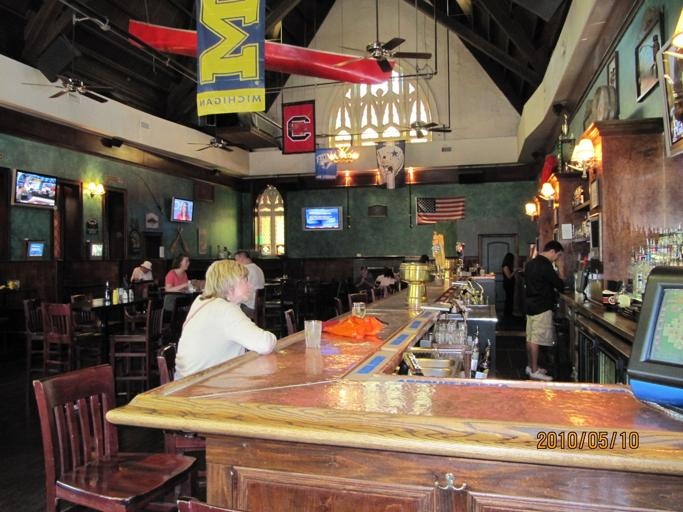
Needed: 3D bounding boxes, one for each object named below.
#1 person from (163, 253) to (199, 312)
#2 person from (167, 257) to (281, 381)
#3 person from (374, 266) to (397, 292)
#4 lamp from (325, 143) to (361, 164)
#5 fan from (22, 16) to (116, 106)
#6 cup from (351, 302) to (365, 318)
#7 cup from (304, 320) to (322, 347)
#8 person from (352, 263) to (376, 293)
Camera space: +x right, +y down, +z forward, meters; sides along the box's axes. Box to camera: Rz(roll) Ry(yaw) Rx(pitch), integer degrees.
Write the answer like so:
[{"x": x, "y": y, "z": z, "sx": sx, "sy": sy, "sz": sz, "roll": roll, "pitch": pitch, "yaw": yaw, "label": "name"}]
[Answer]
[{"x": -2.413, "y": 0.436, "z": 8.000, "sx": 0.466, "sy": 0.857, "sz": 0.465, "roll": 2, "pitch": -3, "yaw": 25, "label": "person"}, {"x": -0.722, "y": 0.580, "z": 3.306, "sx": 0.597, "sy": 1.147, "sz": 0.494, "roll": -4, "pitch": 22, "yaw": -30, "label": "person"}, {"x": 1.044, "y": 0.525, "z": 12.330, "sx": 0.365, "sy": 0.935, "sz": 0.285, "roll": 4, "pitch": 6, "yaw": 28, "label": "person"}, {"x": 0.025, "y": -2.679, "z": 13.976, "sx": 0.747, "sy": 0.442, "sz": 0.383, "roll": 1, "pitch": 7, "yaw": -3, "label": "lamp"}, {"x": -4.950, "y": -3.459, "z": 9.433, "sx": 1.149, "sy": 1.201, "sz": 1.247, "roll": -13, "pitch": -24, "yaw": -1, "label": "fan"}, {"x": 0.107, "y": 0.355, "z": 3.527, "sx": 0.077, "sy": 0.087, "sz": 0.084, "roll": 1, "pitch": -6, "yaw": 0, "label": "cup"}, {"x": -0.155, "y": 0.438, "z": 3.033, "sx": 0.124, "sy": 0.152, "sz": 0.127, "roll": 0, "pitch": -5, "yaw": 0, "label": "cup"}, {"x": 0.509, "y": 0.616, "z": 13.424, "sx": 0.617, "sy": 1.089, "sz": 0.450, "roll": 0, "pitch": -6, "yaw": 13, "label": "person"}]
